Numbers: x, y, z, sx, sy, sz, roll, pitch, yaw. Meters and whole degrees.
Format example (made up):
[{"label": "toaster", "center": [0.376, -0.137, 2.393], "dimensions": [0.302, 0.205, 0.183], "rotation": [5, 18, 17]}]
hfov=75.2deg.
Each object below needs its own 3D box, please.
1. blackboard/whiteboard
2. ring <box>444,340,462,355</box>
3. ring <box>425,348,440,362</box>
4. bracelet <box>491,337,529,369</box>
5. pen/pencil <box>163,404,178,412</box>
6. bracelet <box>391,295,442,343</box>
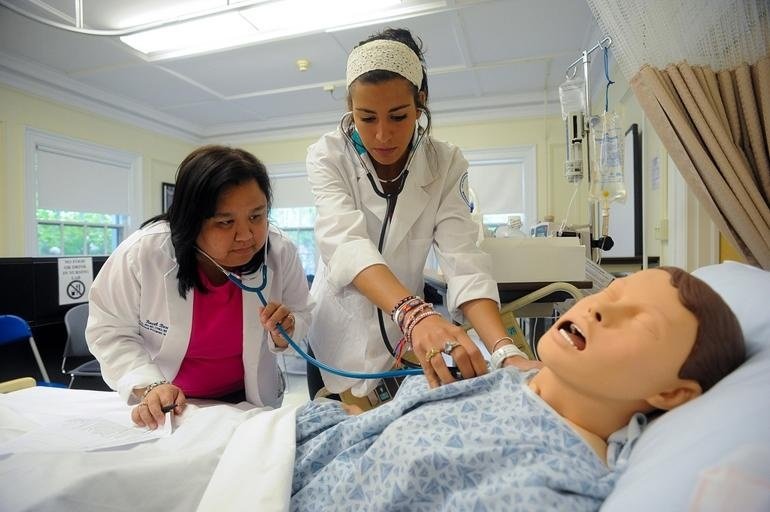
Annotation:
[{"label": "blackboard/whiteboard", "center": [1.917, -0.518, 4.013], "dimensions": [0.189, 1.028, 0.927], "rotation": [-1, 1, 17]}, {"label": "ring", "center": [0.195, 0.266, 1.478], "dimensions": [0.045, 0.042, 0.032], "rotation": [22, 20, -36]}, {"label": "ring", "center": [0.140, 0.289, 1.481], "dimensions": [0.019, 0.035, 0.030], "rotation": [36, -46, -15]}, {"label": "bracelet", "center": [0.392, 0.307, 1.586], "dimensions": [0.081, 0.065, 0.109], "rotation": [-27, 29, -14]}, {"label": "pen/pencil", "center": [-0.703, 0.502, 1.657], "dimensions": [0.059, 0.015, 0.018], "rotation": [-26, -23, 33]}, {"label": "bracelet", "center": [0.094, 0.184, 1.554], "dimensions": [0.115, 0.070, 0.150], "rotation": [-30, 13, -12]}]
